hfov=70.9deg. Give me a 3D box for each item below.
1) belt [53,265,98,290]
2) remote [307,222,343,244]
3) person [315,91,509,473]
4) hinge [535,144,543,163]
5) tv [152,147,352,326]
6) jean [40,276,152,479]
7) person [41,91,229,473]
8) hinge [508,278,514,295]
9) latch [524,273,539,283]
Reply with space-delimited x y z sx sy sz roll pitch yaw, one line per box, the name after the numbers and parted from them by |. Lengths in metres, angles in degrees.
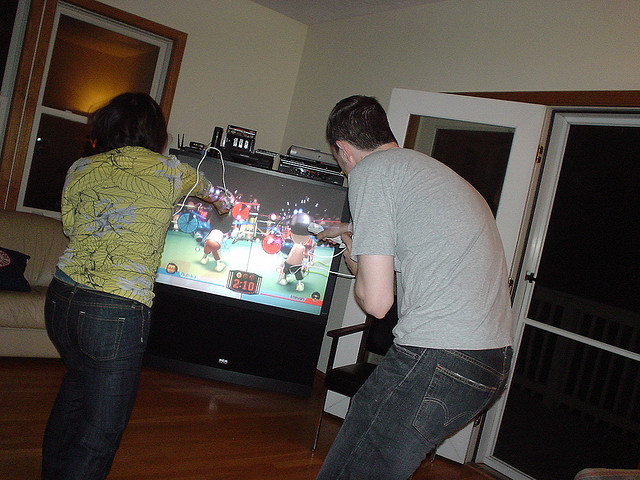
-0.871 0.138 1.621 0.148 0.043 0.025 26 23 8 | belt
0.022 -0.036 2.772 0.246 0.095 0.049 26 -24 -12 | remote
0.334 0.230 1.428 0.579 0.789 0.315 9 7 -9 | person
1.469 -0.575 3.025 0.025 0.091 0.095 11 25 13 | hinge
-0.501 0.027 3.143 1.288 0.886 0.047 12 -1 -4 | tv
-0.912 0.596 1.722 0.390 0.905 0.226 12 7 17 | jean
-0.772 0.217 1.745 0.471 1.560 0.362 7 8 -26 | person
1.285 0.315 3.037 0.035 0.091 0.166 13 8 24 | hinge
1.480 0.269 3.165 0.075 0.058 0.030 7 8 -22 | latch
